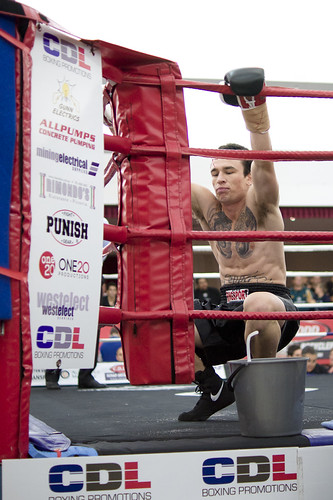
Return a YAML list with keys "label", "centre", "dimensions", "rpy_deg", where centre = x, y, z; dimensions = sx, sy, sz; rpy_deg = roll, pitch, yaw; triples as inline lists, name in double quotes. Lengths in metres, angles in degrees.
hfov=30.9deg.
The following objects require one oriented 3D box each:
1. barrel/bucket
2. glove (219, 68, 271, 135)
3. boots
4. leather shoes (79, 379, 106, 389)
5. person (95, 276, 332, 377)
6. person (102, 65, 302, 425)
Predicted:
- label: "barrel/bucket"
  centre: [0.321, 0.460, 1.956]
  dimensions: [0.274, 0.199, 0.264]
  rpy_deg: [-3, -8, 0]
- label: "glove"
  centre: [0.281, -0.518, 2.093]
  dimensions: [0.178, 0.212, 0.156]
  rpy_deg: [6, 19, 32]
- label: "boots"
  centre: [0.163, 0.570, 2.372]
  dimensions: [0.264, 0.174, 0.090]
  rpy_deg: [-31, -24, 14]
- label: "leather shoes"
  centre: [-0.554, 0.992, 4.446]
  dimensions: [0.239, 0.081, 0.073]
  rpy_deg: [0, -6, 2]
- label: "person"
  centre: [0.232, 0.380, 2.743]
  dimensions: [1.315, 0.259, 0.794]
  rpy_deg: [-1, -3, -5]
- label: "person"
  centre: [0.159, 0.010, 2.445]
  dimensions: [0.857, 1.314, 0.618]
  rpy_deg: [1, -17, -2]
